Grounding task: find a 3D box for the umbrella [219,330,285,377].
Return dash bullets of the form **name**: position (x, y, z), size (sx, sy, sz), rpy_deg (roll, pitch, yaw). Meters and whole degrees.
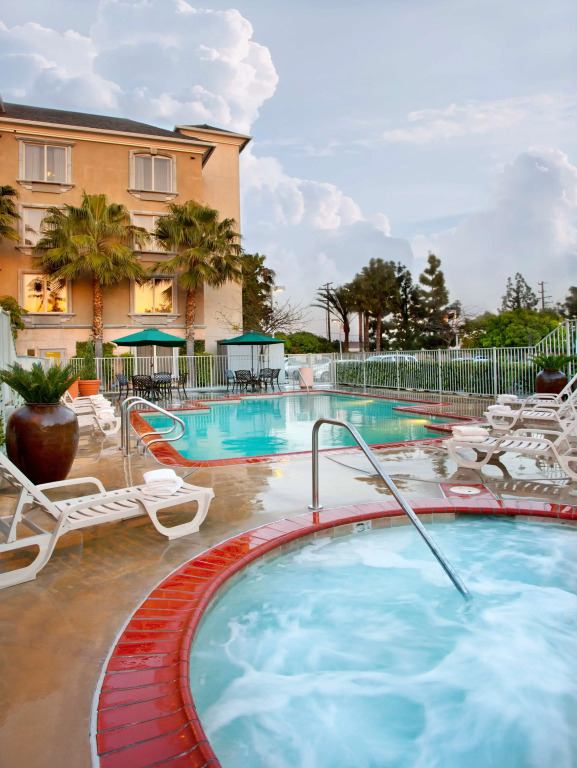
- **umbrella**: position (-1.938, -1.377, 28.043), size (2.607, 1.947, 2.539), rpy_deg (0, 0, -15)
